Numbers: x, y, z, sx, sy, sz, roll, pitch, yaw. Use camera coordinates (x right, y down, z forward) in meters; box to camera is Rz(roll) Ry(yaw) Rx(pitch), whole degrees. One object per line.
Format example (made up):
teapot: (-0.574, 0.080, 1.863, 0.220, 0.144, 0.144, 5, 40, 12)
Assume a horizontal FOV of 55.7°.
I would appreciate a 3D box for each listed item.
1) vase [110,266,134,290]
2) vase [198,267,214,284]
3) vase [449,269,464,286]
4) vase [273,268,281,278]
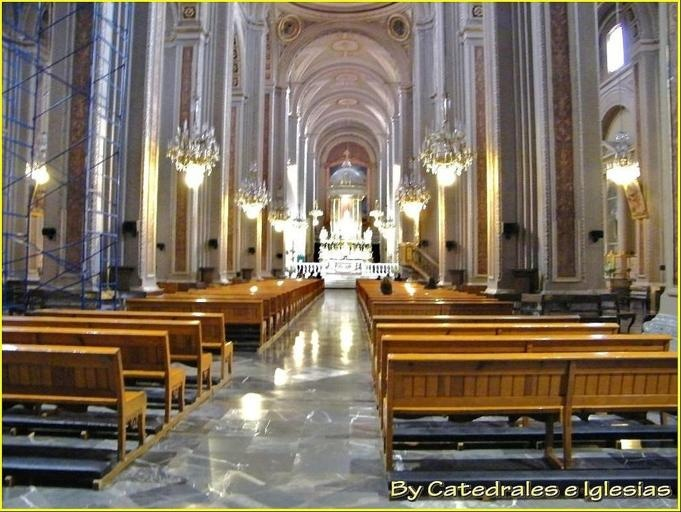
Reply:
vase: (-3.979, 0.385, 11.768, 0.408, 0.438, 0.457, 3, 2, 30)
vase: (-3.351, 0.510, 16.174, 0.390, 0.317, 0.397, -1, -8, 6)
vase: (3.073, 0.590, 16.944, 0.372, 0.287, 0.376, 0, -7, 0)
vase: (-2.660, 0.758, 27.363, 0.360, 0.519, 0.360, 3, -7, -14)
